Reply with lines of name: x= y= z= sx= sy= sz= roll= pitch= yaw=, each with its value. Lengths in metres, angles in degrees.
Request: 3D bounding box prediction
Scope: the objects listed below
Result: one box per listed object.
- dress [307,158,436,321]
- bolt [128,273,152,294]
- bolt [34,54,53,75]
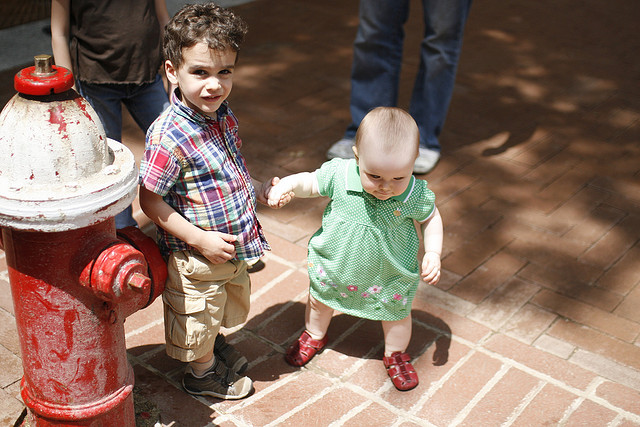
dress: x=0.227 y=0.155 z=2.915 sx=0.631 sy=0.779 sz=0.429 roll=10 pitch=41 yaw=9
bolt: x=-0.722 y=0.270 z=2.233 sx=0.083 sy=0.076 sz=0.082 roll=27 pitch=22 yaw=29
bolt: x=-1.041 y=-0.562 z=2.106 sx=0.080 sy=0.072 sz=0.073 roll=4 pitch=6 yaw=3
